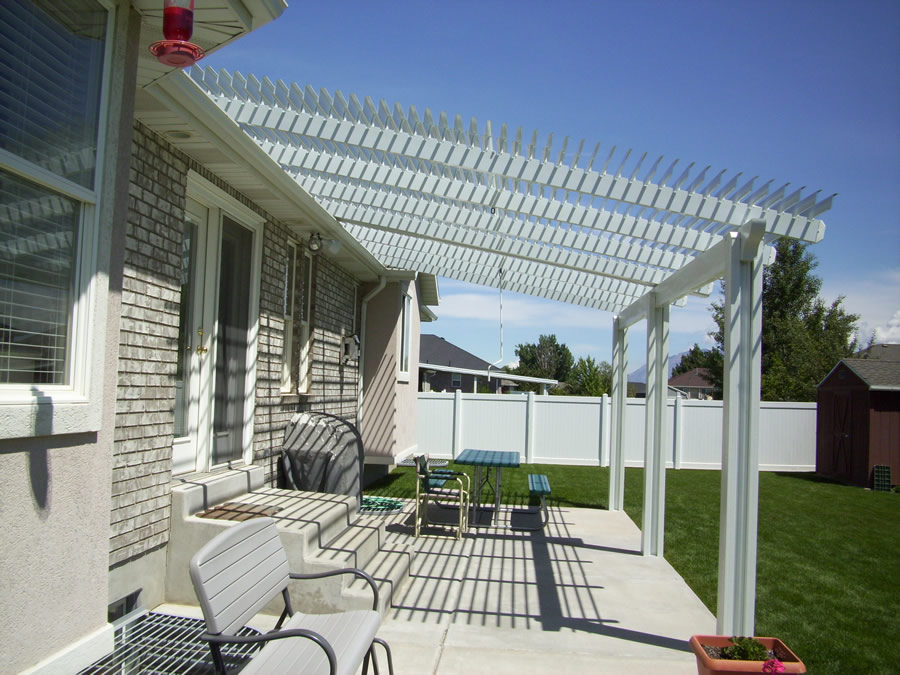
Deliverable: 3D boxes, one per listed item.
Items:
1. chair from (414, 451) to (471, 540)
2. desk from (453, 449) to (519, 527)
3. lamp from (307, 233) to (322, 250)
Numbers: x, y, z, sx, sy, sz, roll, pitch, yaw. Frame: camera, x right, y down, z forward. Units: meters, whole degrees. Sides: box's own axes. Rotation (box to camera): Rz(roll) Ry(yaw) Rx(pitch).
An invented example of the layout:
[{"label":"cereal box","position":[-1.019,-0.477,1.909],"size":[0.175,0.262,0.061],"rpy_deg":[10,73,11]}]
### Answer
[{"label":"chair","position":[-0.131,2.213,9.622],"size":[0.816,1.346,1.027],"rpy_deg":[-1,-7,10]},{"label":"desk","position":[0.666,2.395,10.454],"size":[0.729,0.939,2.480],"rpy_deg":[-17,-19,21]},{"label":"lamp","position":[-1.882,-1.348,9.339],"size":[0.153,0.130,0.239],"rpy_deg":[0,-31,-6]}]
